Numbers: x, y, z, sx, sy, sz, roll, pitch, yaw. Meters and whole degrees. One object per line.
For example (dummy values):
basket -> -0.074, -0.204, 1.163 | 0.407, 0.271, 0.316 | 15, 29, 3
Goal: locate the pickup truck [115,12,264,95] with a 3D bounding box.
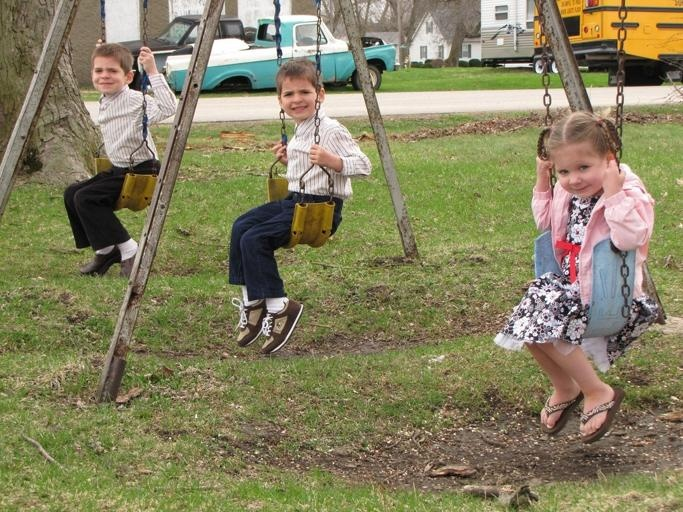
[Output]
pickup truck -> -3.496, -5.007, 22.597 | 3.523, 1.408, 1.891 | -11, 26, -26

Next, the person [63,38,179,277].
person -> -1.950, -0.821, 8.121 | 0.869, 2.003, 1.335 | -8, 14, -30

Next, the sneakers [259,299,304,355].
sneakers -> -0.461, 0.496, 6.754 | 0.175, 0.207, 0.471 | 2, 52, 46

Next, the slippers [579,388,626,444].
slippers -> 1.563, 0.943, 5.618 | 0.166, 0.402, 0.127 | 36, 0, 24

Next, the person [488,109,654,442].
person -> 1.435, 0.127, 5.638 | 0.889, 1.946, 0.622 | 0, 12, 16

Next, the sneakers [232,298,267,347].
sneakers -> -0.663, 0.482, 6.844 | 0.189, 0.405, 0.148 | 23, -5, -41
